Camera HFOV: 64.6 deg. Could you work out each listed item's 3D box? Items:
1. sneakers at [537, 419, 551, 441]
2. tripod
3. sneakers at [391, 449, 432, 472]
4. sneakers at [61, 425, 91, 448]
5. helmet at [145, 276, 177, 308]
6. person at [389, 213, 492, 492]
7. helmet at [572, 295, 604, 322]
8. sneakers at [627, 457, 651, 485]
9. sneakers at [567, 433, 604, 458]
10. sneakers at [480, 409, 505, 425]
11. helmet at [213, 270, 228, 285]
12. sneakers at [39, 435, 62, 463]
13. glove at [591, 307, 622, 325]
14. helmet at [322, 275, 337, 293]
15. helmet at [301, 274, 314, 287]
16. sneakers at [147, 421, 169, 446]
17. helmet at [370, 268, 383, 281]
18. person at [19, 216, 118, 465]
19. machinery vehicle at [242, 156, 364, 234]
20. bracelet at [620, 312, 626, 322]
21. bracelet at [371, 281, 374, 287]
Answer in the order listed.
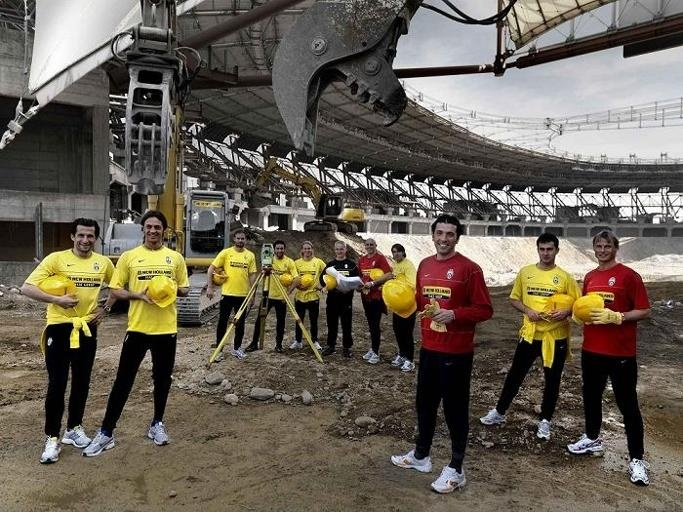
[{"bbox_3d":[2.657,2.306,7.105,0.132,0.119,0.296,-1,-2,13],"label":"sneakers"},{"bbox_3d":[-1.446,0.961,10.005,1.993,1.643,1.601,0,1,-18],"label":"tripod"},{"bbox_3d":[0.861,2.503,6.671,0.531,0.250,0.210,4,-8,17],"label":"sneakers"},{"bbox_3d":[-3.312,2.290,6.813,0.423,0.216,0.200,5,-4,21],"label":"sneakers"},{"bbox_3d":[-2.217,0.450,6.747,0.379,0.407,0.231,-4,11,-24],"label":"helmet"},{"bbox_3d":[1.203,1.283,6.327,0.935,2.745,0.741,7,12,35],"label":"person"},{"bbox_3d":[2.989,0.648,6.623,0.367,0.310,0.264,-5,-10,-24],"label":"helmet"},{"bbox_3d":[3.498,2.555,6.371,0.155,0.175,0.376,-5,-10,22],"label":"sneakers"},{"bbox_3d":[3.090,2.425,6.870,0.502,0.234,0.198,2,-5,-2],"label":"sneakers"},{"bbox_3d":[2.063,2.228,7.477,0.339,0.205,0.160,1,-2,4],"label":"sneakers"},{"bbox_3d":[-2.139,0.382,9.619,0.237,0.202,0.223,-3,3,-16],"label":"helmet"},{"bbox_3d":[-3.524,2.346,6.587,0.235,0.279,0.255,-6,12,-30],"label":"sneakers"},{"bbox_3d":[3.194,0.751,6.519,0.354,0.231,0.189,5,11,24],"label":"glove"},{"bbox_3d":[-0.237,0.532,10.063,0.230,0.300,0.282,0,-15,-17],"label":"helmet"},{"bbox_3d":[-0.642,0.474,10.356,0.251,0.186,0.193,-8,-32,-44],"label":"helmet"},{"bbox_3d":[-2.354,2.314,7.007,0.165,0.187,0.376,6,-3,-41],"label":"sneakers"},{"bbox_3d":[0.646,0.339,9.843,0.223,0.193,0.191,-8,-34,2],"label":"helmet"},{"bbox_3d":[-3.319,1.001,6.688,0.952,2.882,0.601,-6,12,-31],"label":"person"},{"bbox_3d":[-2.027,-3.718,34.119,7.176,4.018,2.097,8,0,-21],"label":"machinery vehicle"},{"bbox_3d":[3.363,0.743,6.485,0.034,0.098,0.068,6,-1,-26],"label":"bracelet"},{"bbox_3d":[0.566,0.505,9.786,0.049,0.076,0.075,27,20,18],"label":"bracelet"}]
